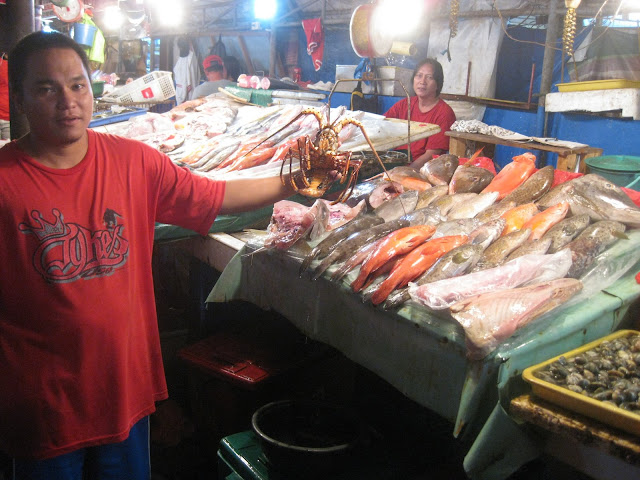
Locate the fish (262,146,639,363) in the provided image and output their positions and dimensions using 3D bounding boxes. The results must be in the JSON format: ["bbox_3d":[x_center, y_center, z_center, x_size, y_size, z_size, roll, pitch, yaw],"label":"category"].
[{"bbox_3d":[0.601,0.067,2.179,1.072,0.155,1.080,18,36,40],"label":"fish"}]

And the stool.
[{"bbox_3d":[-0.616,1.005,3.246,0.758,0.684,0.625,-12,24,-31],"label":"stool"}]
